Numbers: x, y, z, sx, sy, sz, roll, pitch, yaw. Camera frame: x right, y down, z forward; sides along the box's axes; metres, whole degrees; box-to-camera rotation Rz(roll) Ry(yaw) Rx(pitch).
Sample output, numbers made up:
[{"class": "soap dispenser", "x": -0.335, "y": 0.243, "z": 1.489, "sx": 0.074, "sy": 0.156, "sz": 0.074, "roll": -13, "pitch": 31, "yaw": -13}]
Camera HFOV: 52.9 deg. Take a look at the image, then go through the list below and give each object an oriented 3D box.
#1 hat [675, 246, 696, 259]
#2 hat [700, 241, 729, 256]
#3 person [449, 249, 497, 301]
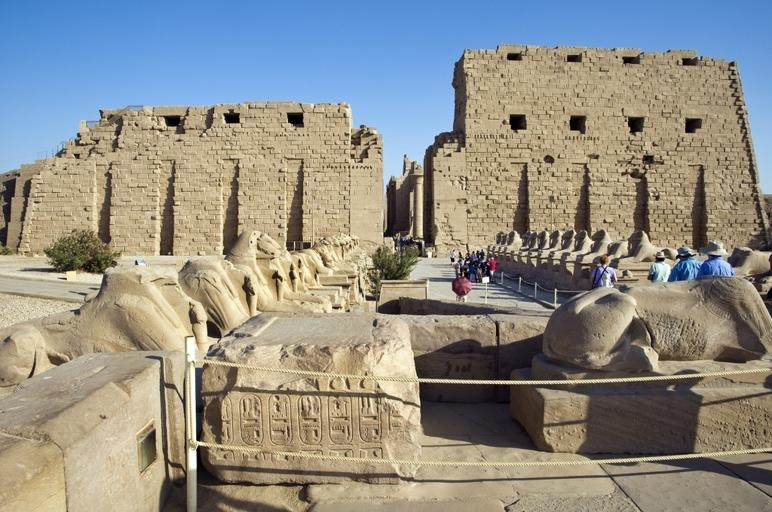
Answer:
[{"class": "hat", "x": 5.469, "y": -0.057, "z": 14.102, "sx": 0.383, "sy": 0.151, "sz": 0.432, "roll": -5, "pitch": -6, "yaw": 37}, {"class": "hat", "x": 7.165, "y": -0.184, "z": 16.876, "sx": 0.700, "sy": 0.314, "sz": 0.845, "roll": 2, "pitch": 2, "yaw": 26}, {"class": "person", "x": 2.469, "y": 0.529, "z": 22.225, "sx": 0.936, "sy": 1.017, "sz": 1.846, "roll": -2, "pitch": -4, "yaw": 11}]
